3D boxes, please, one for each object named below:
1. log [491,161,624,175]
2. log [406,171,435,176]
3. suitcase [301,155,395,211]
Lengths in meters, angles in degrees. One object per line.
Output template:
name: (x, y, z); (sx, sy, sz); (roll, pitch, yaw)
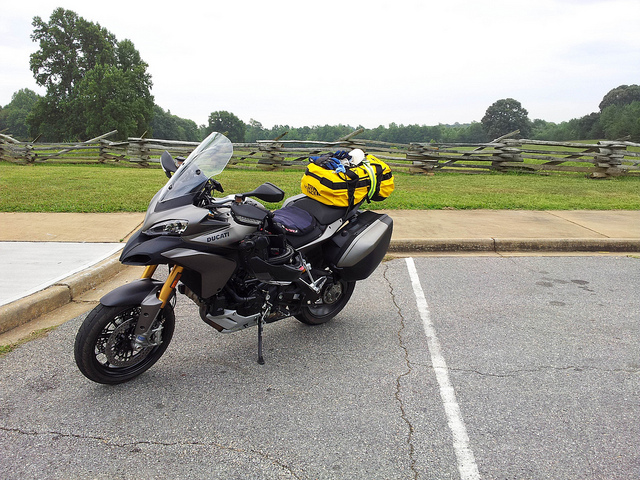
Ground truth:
log: (9.786, -2.994, 19.216); (4.620, 0.391, 1.051); (8, 15, 34)
log: (4.226, -2.878, 20.035); (1.532, 0.096, 0.729); (9, 15, 36)
suitcase: (0.264, -0.637, 5.029); (0.949, 0.371, 0.649); (-17, 32, -39)
